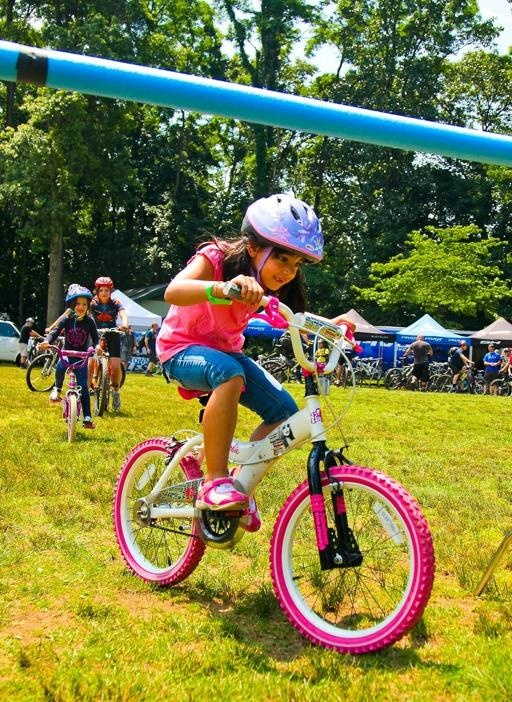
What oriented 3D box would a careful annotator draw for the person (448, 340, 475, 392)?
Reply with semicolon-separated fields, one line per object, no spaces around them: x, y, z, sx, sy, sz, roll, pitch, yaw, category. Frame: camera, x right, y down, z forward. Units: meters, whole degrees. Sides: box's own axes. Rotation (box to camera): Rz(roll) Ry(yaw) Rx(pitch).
6.816;0.634;21.963;0.803;1.171;0.701;8;5;17;person

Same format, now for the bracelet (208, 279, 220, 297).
-0.152;-0.211;2.336;0.051;0.074;0.155;6;4;-5;bracelet

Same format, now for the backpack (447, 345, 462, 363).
6.755;0.081;22.185;0.460;0.586;0.586;-1;-2;-28;backpack

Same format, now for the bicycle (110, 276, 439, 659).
0.115;0.614;3.094;0.907;1.188;1.906;8;-4;-44;bicycle

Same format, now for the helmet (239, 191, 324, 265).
0.109;-0.497;2.573;0.242;0.220;0.314;18;14;-36;helmet

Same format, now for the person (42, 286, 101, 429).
-2.124;0.097;7.614;0.649;1.716;1.223;6;4;-14;person

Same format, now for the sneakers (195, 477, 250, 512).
-0.132;0.556;2.533;0.106;0.082;0.202;8;-11;-33;sneakers

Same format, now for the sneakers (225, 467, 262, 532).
-0.056;0.639;2.729;0.104;0.299;0.130;-4;2;-4;sneakers

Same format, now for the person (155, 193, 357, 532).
0.094;-0.012;2.638;0.953;1.267;0.949;3;-8;-11;person

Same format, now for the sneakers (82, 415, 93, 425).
-1.936;0.784;7.600;0.106;0.092;0.194;5;4;-16;sneakers

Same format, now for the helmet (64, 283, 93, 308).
-2.085;-0.635;7.624;0.276;0.262;0.354;6;-3;-43;helmet
